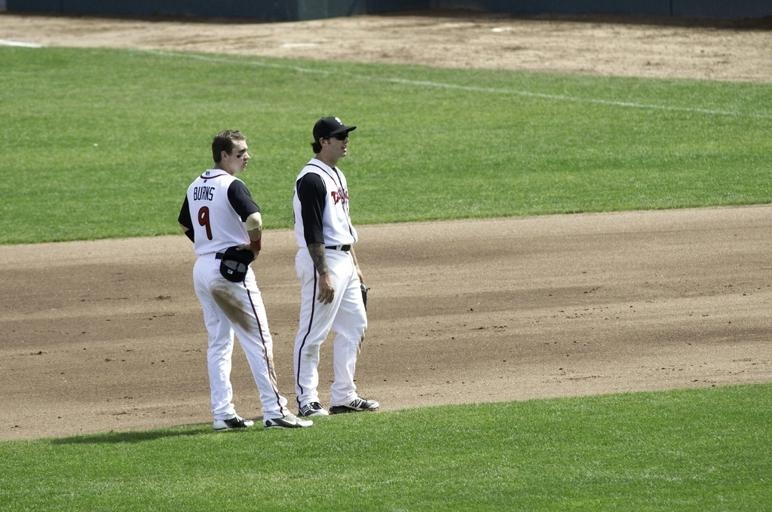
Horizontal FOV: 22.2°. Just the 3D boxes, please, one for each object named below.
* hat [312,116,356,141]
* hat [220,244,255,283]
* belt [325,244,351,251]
[{"bbox_3d":[-1.059,-2.641,40.358,0.778,0.388,0.515,-7,11,2],"label":"hat"},{"bbox_3d":[-3.018,0.200,39.925,0.759,0.732,0.224,1,13,-5],"label":"hat"},{"bbox_3d":[-0.969,-0.137,40.229,0.542,0.166,0.096,-1,13,-11],"label":"belt"}]
